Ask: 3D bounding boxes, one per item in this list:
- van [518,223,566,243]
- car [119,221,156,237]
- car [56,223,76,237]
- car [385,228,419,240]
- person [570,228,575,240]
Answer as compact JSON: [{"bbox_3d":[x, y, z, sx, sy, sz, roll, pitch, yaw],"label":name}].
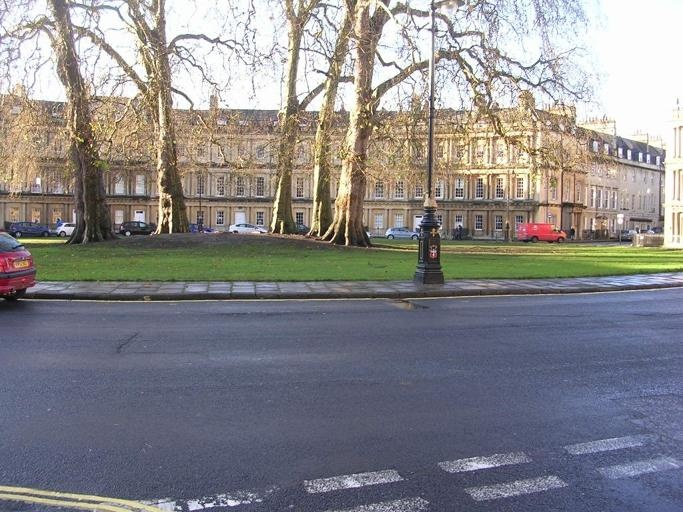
[{"bbox_3d":[20.960,-2.451,72.643,3.930,1.623,2.152,-2,5,-10],"label":"van"},{"bbox_3d":[-20.272,-2.871,69.237,2.976,1.300,4.087,0,2,-22],"label":"car"},{"bbox_3d":[-27.106,-2.679,68.768,2.469,1.203,1.407,1,2,37],"label":"car"},{"bbox_3d":[6.634,-2.497,77.259,3.425,1.227,1.601,-1,5,6],"label":"car"},{"bbox_3d":[27.577,-2.696,83.889,0.474,1.282,1.616,0,1,8],"label":"person"}]
